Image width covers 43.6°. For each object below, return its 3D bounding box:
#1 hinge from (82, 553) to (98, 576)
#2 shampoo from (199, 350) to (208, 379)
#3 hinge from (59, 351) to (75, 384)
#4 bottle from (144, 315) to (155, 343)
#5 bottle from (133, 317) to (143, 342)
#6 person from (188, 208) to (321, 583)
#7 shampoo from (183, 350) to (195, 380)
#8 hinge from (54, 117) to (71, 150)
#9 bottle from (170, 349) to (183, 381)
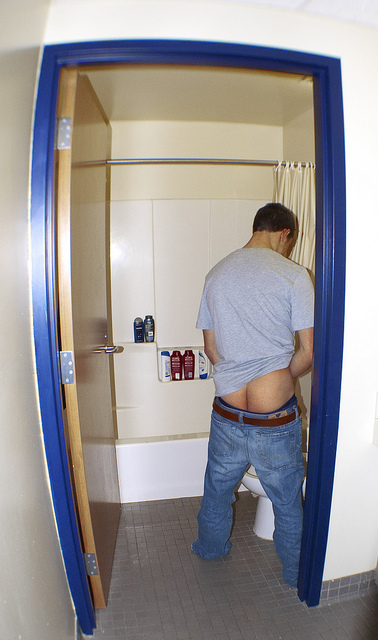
[{"bbox_3d":[-0.375,0.922,1.781,0.050,0.105,0.043,-1,6,-7],"label":"hinge"},{"bbox_3d":[0.093,0.290,3.134,0.062,0.197,0.052,0,6,-4],"label":"shampoo"},{"bbox_3d":[-0.411,0.158,1.579,0.046,0.114,0.018,-2,6,-21],"label":"hinge"},{"bbox_3d":[-0.265,0.058,3.099,0.058,0.174,0.048,-2,6,-20],"label":"bottle"},{"bbox_3d":[-0.349,0.064,3.098,0.078,0.155,0.048,3,7,25],"label":"bottle"},{"bbox_3d":[0.296,0.363,2.160,0.623,1.670,0.454,5,19,21],"label":"person"},{"bbox_3d":[-0.003,0.297,3.128,0.075,0.191,0.030,0,6,-1],"label":"shampoo"},{"bbox_3d":[-0.413,-0.612,1.542,0.050,0.102,0.014,-2,6,-16],"label":"hinge"},{"bbox_3d":[-0.086,0.301,3.109,0.083,0.197,0.044,0,6,-3],"label":"bottle"}]
